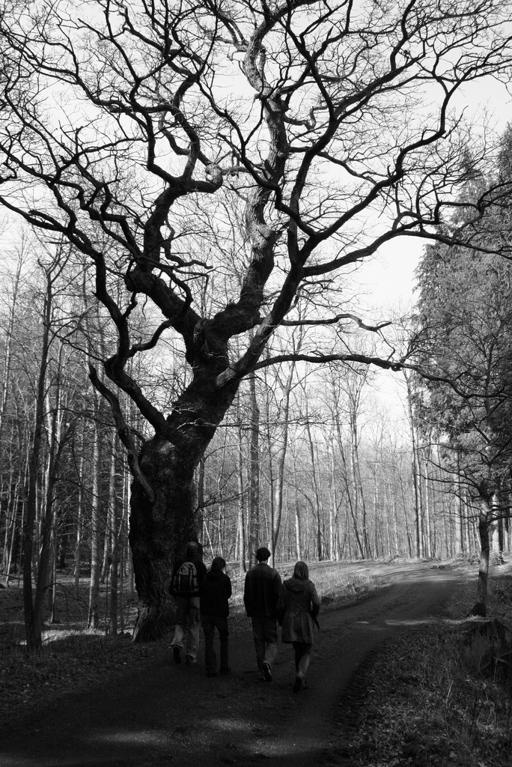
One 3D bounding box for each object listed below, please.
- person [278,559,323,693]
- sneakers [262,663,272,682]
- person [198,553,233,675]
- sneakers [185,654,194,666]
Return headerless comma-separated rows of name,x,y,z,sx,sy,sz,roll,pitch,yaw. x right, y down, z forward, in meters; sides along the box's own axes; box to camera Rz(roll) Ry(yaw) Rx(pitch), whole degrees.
person,0.472,2.575,7.447,0.421,1.281,0.737,-4,-14,1
sneakers,0.115,3.085,7.378,0.091,0.188,0.138,-3,-15,-4
person,-0.458,2.616,7.810,0.348,1.261,0.694,-2,-14,-5
sneakers,-0.750,3.204,7.994,0.113,0.124,0.071,-8,-9,29
